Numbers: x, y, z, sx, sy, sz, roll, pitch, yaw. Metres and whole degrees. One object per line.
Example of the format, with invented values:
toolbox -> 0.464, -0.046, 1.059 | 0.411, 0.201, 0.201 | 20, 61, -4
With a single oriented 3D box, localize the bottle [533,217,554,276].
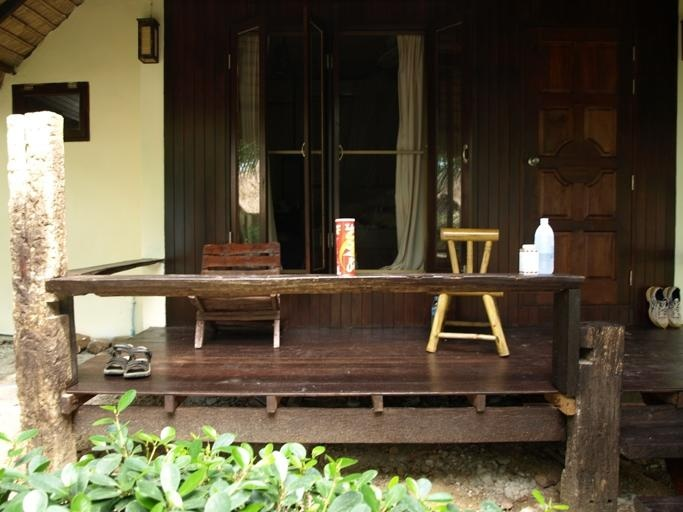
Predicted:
bottle -> 1.588, -0.089, 4.719 | 0.134, 0.422, 0.414 | 1, 6, 17

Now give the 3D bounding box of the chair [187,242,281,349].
chair -> -1.024, 0.353, 5.979 | 0.812, 0.970, 0.984 | -1, 6, -4

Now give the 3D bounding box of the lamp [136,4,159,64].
lamp -> -2.101, -2.476, 6.570 | 0.238, 0.729, 0.289 | -1, 6, -4

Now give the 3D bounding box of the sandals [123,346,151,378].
sandals -> -1.670, 0.870, 4.908 | 0.209, 0.208, 0.237 | -2, 6, -17

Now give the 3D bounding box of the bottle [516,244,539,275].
bottle -> 1.461, 0.019, 4.675 | 0.138, 0.217, 0.240 | 1, 6, 18
